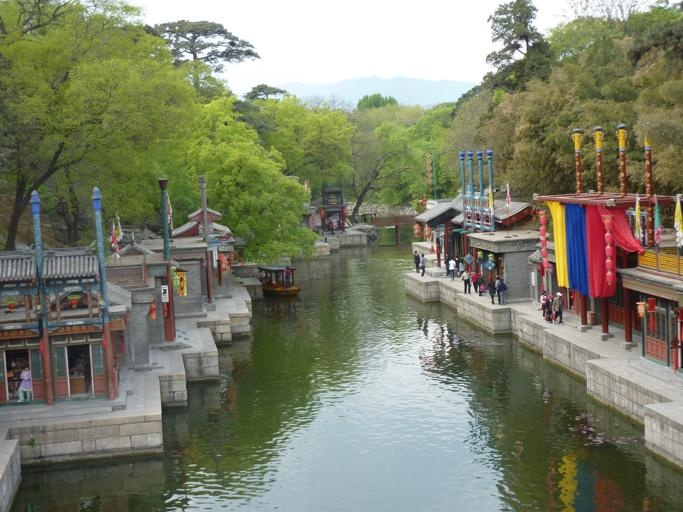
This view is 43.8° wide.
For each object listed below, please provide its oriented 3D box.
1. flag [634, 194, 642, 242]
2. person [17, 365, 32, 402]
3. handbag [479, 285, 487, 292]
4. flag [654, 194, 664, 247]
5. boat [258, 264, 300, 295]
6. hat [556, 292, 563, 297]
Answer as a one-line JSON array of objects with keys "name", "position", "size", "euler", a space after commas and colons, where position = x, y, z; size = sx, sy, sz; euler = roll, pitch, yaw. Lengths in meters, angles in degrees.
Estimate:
[{"name": "flag", "position": [14.298, -1.766, 40.894], "size": [0.350, 2.304, 1.321], "euler": [-5, 4, 19]}, {"name": "person", "position": [-14.411, 5.782, 38.722], "size": [0.691, 1.303, 0.262], "euler": [-7, 4, -19]}, {"name": "handbag", "position": [9.254, 2.110, 55.926], "size": [0.475, 0.220, 0.602], "euler": [-1, 6, -3]}, {"name": "flag", "position": [16.134, -1.898, 43.400], "size": [0.388, 2.475, 7.370], "euler": [-5, 3, 21]}, {"name": "boat", "position": [-4.848, 1.853, 66.004], "size": [1.989, 2.330, 4.126], "euler": [-9, 5, -43]}, {"name": "hat", "position": [12.149, 2.072, 47.412], "size": [0.378, 0.181, 0.556], "euler": [-2, -15, -1]}]
